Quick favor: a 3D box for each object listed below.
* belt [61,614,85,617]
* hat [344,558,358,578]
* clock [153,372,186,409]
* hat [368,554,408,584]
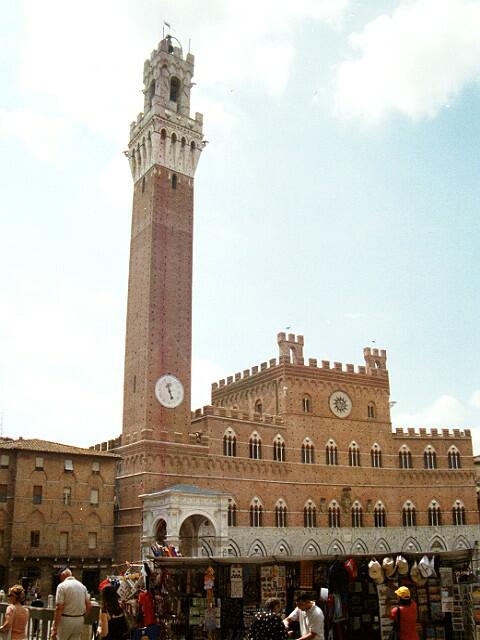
[{"bbox_3d":[-1.952,3.483,7.643,0.254,0.037,0.062,21,-30,-41],"label":"belt"},{"bbox_3d":[1.946,4.336,11.356,0.222,0.354,0.508,-3,-22,8],"label":"hat"},{"bbox_3d":[-3.630,3.612,32.917,0.193,1.707,1.475,-20,-22,37],"label":"clock"},{"bbox_3d":[2.613,4.364,11.348,0.696,0.466,0.722,-4,-22,8],"label":"hat"}]
